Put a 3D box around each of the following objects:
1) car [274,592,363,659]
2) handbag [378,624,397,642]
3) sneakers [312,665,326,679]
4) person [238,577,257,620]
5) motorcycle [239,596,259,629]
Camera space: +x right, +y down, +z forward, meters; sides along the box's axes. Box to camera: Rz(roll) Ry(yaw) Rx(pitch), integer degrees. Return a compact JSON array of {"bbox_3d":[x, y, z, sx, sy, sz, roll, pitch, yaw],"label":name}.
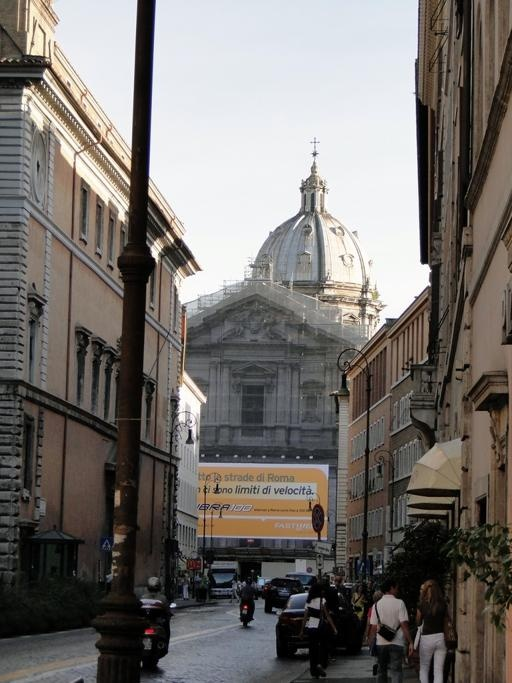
[{"bbox_3d":[1.251,6.027,28.055,1.035,1.009,2.628,0,-4,4],"label":"car"},{"bbox_3d":[1.545,3.448,15.781,0.185,0.166,0.069,25,15,28],"label":"handbag"},{"bbox_3d":[0.973,5.136,20.842,0.225,0.217,0.392,-1,-17,2],"label":"sneakers"},{"bbox_3d":[-0.257,8.521,42.802,0.598,1.014,1.446,2,0,3],"label":"person"},{"bbox_3d":[-0.264,8.641,42.560,0.507,0.871,1.298,2,-5,5],"label":"motorcycle"}]
